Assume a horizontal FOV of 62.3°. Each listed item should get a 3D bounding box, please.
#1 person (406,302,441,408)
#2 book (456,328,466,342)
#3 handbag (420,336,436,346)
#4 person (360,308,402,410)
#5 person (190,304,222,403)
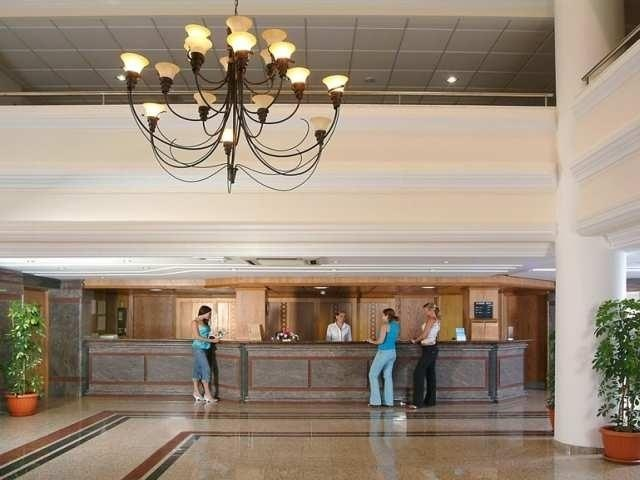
[{"bbox_3d":[2.109,2.320,10.780,0.613,2.089,0.719,-1,-6,8],"label":"person"},{"bbox_3d":[3.278,2.178,12.314,0.194,0.232,0.621,-2,-6,12],"label":"book"},{"bbox_3d":[2.194,2.034,10.712,0.177,0.131,0.218,-1,1,2],"label":"handbag"},{"bbox_3d":[1.285,2.360,10.689,0.629,1.947,0.847,-1,-6,4],"label":"person"},{"bbox_3d":[-2.509,2.462,11.546,0.538,2.034,0.855,1,-6,-12],"label":"person"}]
